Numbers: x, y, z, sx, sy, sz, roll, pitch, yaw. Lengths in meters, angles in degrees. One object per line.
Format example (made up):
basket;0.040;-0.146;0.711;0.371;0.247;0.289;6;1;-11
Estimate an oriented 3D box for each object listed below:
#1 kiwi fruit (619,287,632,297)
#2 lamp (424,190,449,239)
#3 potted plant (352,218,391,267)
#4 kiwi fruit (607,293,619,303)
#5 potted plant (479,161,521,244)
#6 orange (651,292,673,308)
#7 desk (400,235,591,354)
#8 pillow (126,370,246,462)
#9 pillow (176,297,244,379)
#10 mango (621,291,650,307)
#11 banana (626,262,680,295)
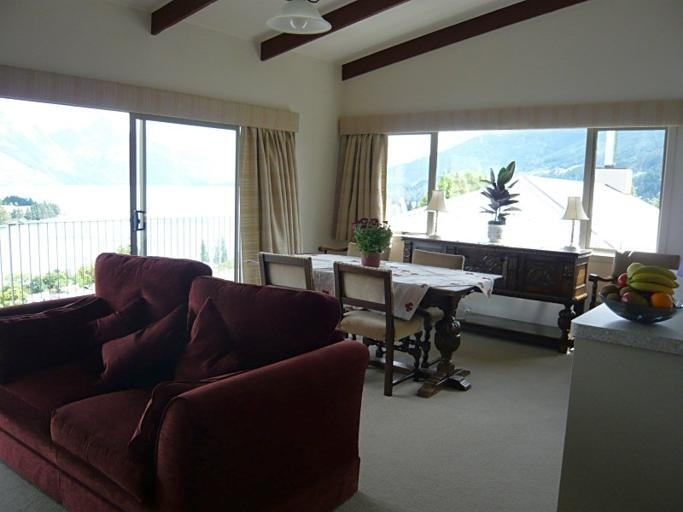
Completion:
kiwi fruit;1.213;0.150;2.087;0.036;0.036;0.037;1;6;6
lamp;1.065;-0.477;5.422;0.287;0.502;0.290;4;0;20
potted plant;0.278;-0.100;4.203;0.340;0.385;0.321;3;3;-14
kiwi fruit;1.164;0.174;2.097;0.034;0.041;0.034;-12;13;-27
potted plant;1.749;-0.624;5.374;0.422;0.843;0.947;5;12;18
orange;1.323;0.174;2.013;0.065;0.067;0.067;7;12;32
desk;1.599;0.327;5.304;1.840;0.940;0.574;7;8;39
pillow;-0.668;0.685;2.042;0.414;0.332;0.217;-4;12;-25
pillow;-0.619;0.455;2.557;0.120;0.375;0.400;20;-25;-28
mango;1.226;0.178;2.040;0.076;0.057;0.056;19;10;25
banana;1.318;0.093;2.104;0.210;0.123;0.071;27;-21;41
